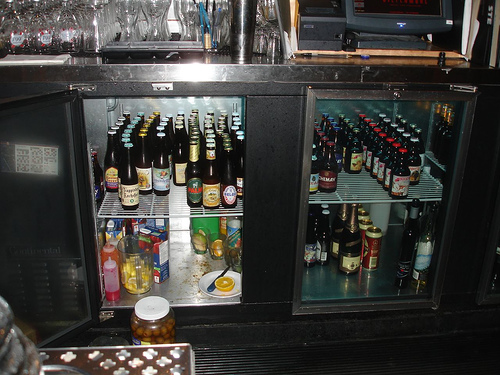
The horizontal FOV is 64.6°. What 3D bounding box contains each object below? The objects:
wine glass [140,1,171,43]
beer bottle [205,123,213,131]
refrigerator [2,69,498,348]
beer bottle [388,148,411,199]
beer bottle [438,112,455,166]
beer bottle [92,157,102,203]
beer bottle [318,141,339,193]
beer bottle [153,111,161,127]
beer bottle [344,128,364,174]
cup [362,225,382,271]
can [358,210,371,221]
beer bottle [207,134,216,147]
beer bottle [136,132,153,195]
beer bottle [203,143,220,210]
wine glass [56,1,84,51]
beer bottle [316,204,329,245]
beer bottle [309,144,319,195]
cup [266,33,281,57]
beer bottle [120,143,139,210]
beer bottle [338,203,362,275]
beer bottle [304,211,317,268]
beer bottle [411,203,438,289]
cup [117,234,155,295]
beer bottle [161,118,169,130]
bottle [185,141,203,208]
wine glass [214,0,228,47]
[{"bbox_3d":[-0.458,-0.818,1.951,0.141,0.170,0.111,-6,15,-13],"label":"wine glass"},{"bbox_3d":[-0.193,-0.287,1.894,0.037,0.034,0.034,0,22,1],"label":"beer bottle"},{"bbox_3d":[0.052,0.102,1.918,2.102,1.345,0.838,-6,15,-15],"label":"refrigerator"},{"bbox_3d":[0.718,-0.061,1.901,0.092,0.209,0.130,2,16,16],"label":"beer bottle"},{"bbox_3d":[1.006,-0.243,2.012,0.049,0.269,0.068,-6,15,-12],"label":"beer bottle"},{"bbox_3d":[-0.724,-0.036,1.879,0.032,0.204,0.121,-8,16,-19],"label":"beer bottle"},{"bbox_3d":[0.365,-0.099,1.910,0.093,0.234,0.101,-2,22,1],"label":"beer bottle"},{"bbox_3d":[-0.454,-0.339,1.948,0.032,0.059,0.083,-6,15,-12],"label":"beer bottle"},{"bbox_3d":[0.554,-0.180,2.053,0.132,0.218,0.083,-16,20,-41],"label":"beer bottle"},{"bbox_3d":[0.649,0.330,2.110,0.086,0.227,0.085,0,24,0],"label":"cup"},{"bbox_3d":[0.622,0.152,2.141,0.051,0.035,0.050,0,18,0],"label":"can"},{"bbox_3d":[-0.172,-0.208,1.759,0.056,0.050,0.054,-7,24,-15],"label":"beer bottle"},{"bbox_3d":[-0.499,-0.115,1.875,0.092,0.292,0.092,4,15,-1],"label":"beer bottle"},{"bbox_3d":[-0.184,-0.053,1.827,0.102,0.316,0.100,1,20,0],"label":"beer bottle"},{"bbox_3d":[-0.823,-0.708,1.789,0.116,0.176,0.062,-5,15,-9],"label":"wine glass"},{"bbox_3d":[0.385,0.192,2.081,0.054,0.241,0.120,-4,15,-4],"label":"beer bottle"},{"bbox_3d":[0.309,-0.083,1.883,0.042,0.224,0.153,0,15,11],"label":"beer bottle"},{"bbox_3d":[0.111,-0.638,1.779,0.061,0.104,0.041,-3,15,0],"label":"cup"},{"bbox_3d":[-0.521,-0.046,1.809,0.087,0.278,0.082,0,20,0],"label":"beer bottle"},{"bbox_3d":[0.527,0.270,2.075,0.118,0.401,0.077,1,15,14],"label":"beer bottle"},{"bbox_3d":[0.329,0.279,2.116,0.050,0.307,0.099,5,17,26],"label":"beer bottle"},{"bbox_3d":[0.899,0.307,2.064,0.104,0.447,0.144,0,19,-6],"label":"beer bottle"},{"bbox_3d":[-0.552,0.380,1.921,0.174,0.243,0.221,-8,20,-30],"label":"cup"},{"bbox_3d":[-0.403,-0.303,1.899,0.027,0.027,0.027,9,18,23],"label":"beer bottle"},{"bbox_3d":[-0.270,-0.075,1.884,0.086,0.310,0.177,-5,15,-7],"label":"bottle"},{"bbox_3d":[-0.136,-0.786,1.907,0.060,0.217,0.124,-2,15,5],"label":"wine glass"}]
